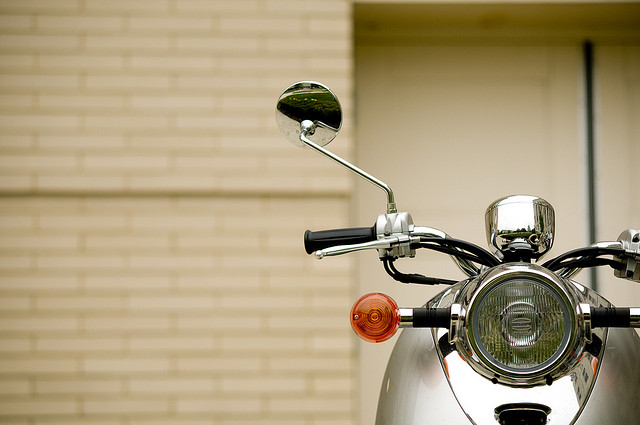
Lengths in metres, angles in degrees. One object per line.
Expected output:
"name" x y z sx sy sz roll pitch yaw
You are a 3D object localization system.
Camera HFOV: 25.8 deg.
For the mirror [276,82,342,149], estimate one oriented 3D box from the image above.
"mirror" -0.053 -0.577 8.217 0.493 0.062 0.471 4 -80 4
